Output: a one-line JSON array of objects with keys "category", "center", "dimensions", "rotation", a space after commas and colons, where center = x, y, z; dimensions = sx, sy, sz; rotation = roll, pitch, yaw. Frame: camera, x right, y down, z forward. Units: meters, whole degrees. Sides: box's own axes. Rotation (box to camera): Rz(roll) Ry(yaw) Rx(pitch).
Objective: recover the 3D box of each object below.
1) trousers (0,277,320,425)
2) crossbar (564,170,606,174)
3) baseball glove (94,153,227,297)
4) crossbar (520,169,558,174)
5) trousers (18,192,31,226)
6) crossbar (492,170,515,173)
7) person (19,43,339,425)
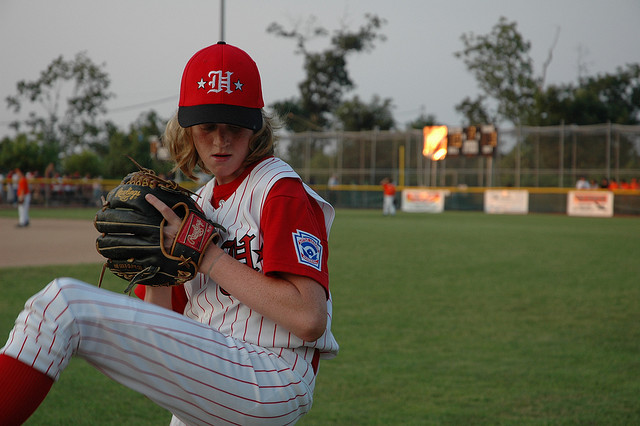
[{"category": "trousers", "center": [-0.888, 0.813, 5.812], "dimensions": [1.422, 0.648, 0.814], "rotation": [7, -6, -4]}, {"category": "crossbar", "center": [1.614, -0.257, 6.187], "dimensions": [0.184, 0.025, 0.014], "rotation": [2, 0, 8]}, {"category": "baseball glove", "center": [-0.916, 0.076, 5.814], "dimensions": [0.653, 0.661, 0.303], "rotation": [13, -7, 13]}, {"category": "crossbar", "center": [1.329, -0.258, 6.219], "dimensions": [0.223, 0.027, 0.006], "rotation": [0, 1, 7]}, {"category": "trousers", "center": [-4.457, -0.072, 15.481], "dimensions": [0.145, 0.525, 0.959], "rotation": [0, 1, -16]}, {"category": "crossbar", "center": [1.121, -0.261, 6.250], "dimensions": [0.131, 0.016, 0.004], "rotation": [0, 1, 11]}, {"category": "person", "center": [-0.693, 0.131, 5.756], "dimensions": [1.591, 2.214, 0.659], "rotation": [0, 1, 0]}]
